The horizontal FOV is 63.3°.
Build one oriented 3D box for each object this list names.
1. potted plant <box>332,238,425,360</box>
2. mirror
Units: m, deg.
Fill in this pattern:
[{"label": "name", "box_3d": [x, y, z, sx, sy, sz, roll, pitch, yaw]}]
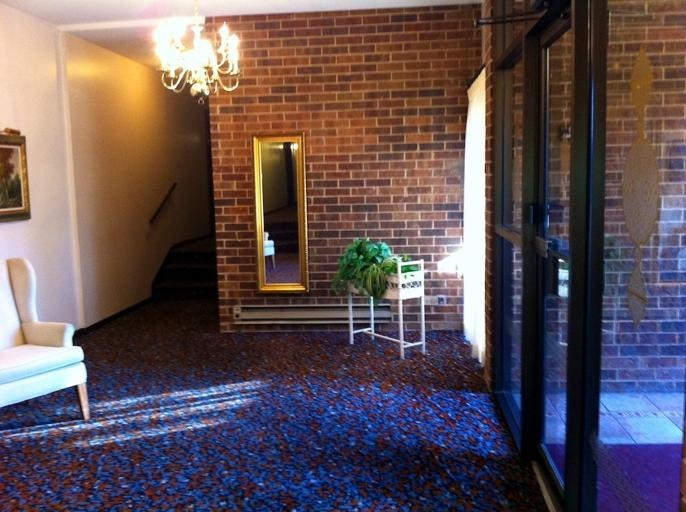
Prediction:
[{"label": "potted plant", "box_3d": [0.403, 0.367, 5.407, 0.720, 1.063, 0.941, -8, 11, -40]}, {"label": "mirror", "box_3d": [-0.653, -0.445, 5.920, 0.649, 1.735, 0.063, -1, 3, 9]}]
